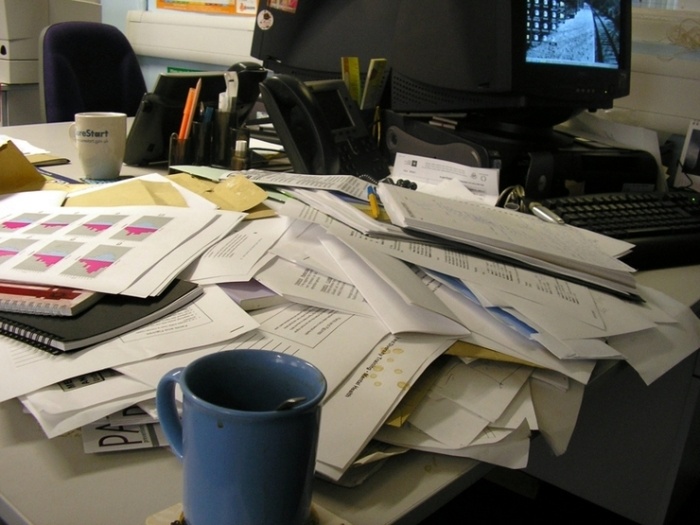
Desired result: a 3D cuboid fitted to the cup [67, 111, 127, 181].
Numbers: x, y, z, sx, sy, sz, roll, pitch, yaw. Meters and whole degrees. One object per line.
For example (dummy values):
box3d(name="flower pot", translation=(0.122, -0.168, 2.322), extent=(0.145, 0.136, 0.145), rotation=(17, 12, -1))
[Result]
box3d(name="cup", translation=(-0.497, -0.235, 1.054), extent=(0.146, 0.132, 0.094), rotation=(16, 20, 32))
